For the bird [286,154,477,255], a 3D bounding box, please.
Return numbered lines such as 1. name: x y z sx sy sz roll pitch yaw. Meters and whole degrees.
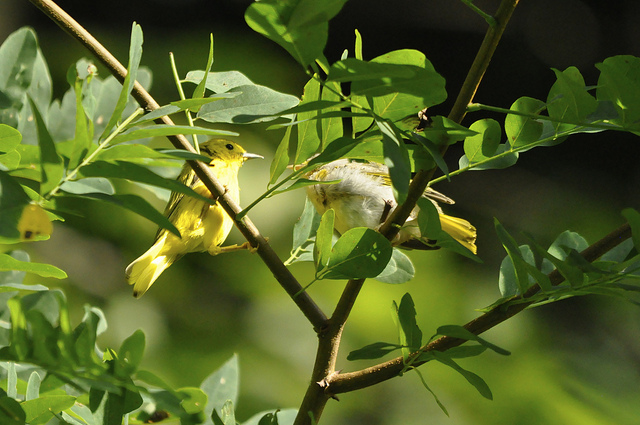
1. bird: 0.345 -0.143 3.671 0.566 1.025 0.380 41 -51 26
